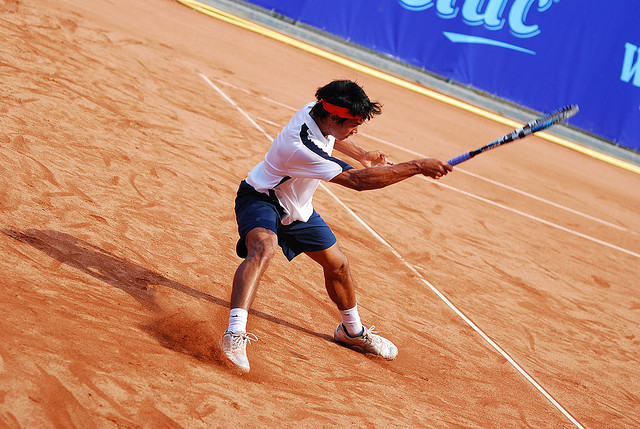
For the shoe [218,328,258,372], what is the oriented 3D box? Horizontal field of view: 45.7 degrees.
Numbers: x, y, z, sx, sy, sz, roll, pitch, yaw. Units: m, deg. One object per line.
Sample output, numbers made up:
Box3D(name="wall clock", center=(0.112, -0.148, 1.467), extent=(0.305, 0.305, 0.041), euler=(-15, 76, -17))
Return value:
Box3D(name="shoe", center=(-0.983, 1.612, 9.108), extent=(0.532, 0.432, 0.198), euler=(31, 24, 5))
